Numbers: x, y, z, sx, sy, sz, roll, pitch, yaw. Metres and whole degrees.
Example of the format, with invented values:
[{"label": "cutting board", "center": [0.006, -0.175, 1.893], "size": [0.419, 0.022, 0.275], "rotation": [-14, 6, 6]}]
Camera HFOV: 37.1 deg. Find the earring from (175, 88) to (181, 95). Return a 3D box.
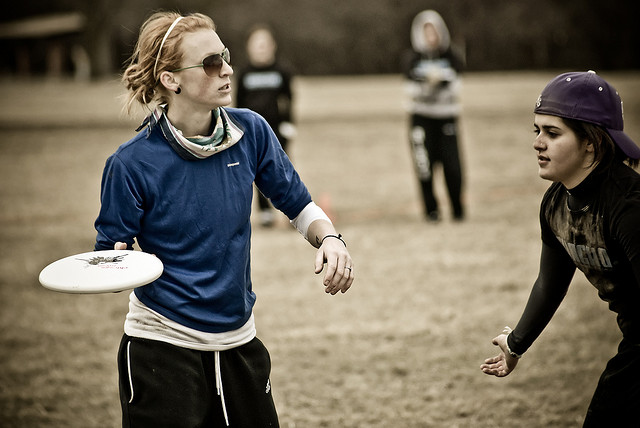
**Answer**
[{"label": "earring", "center": [-1.063, -0.923, 7.136], "size": [0.052, 0.045, 0.013], "rotation": [-1, -3, -3]}]
